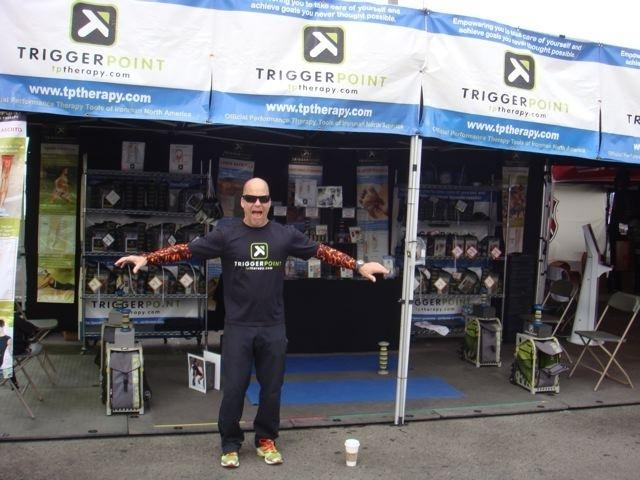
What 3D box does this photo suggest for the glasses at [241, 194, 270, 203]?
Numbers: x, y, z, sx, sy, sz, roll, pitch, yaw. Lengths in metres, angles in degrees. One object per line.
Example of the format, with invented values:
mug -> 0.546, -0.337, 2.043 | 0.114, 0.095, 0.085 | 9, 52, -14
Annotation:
glasses -> -0.617, -0.394, 5.701 | 0.247, 0.088, 0.104 | 1, 7, -8

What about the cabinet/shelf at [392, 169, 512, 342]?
cabinet/shelf -> 2.412, 0.401, 10.262 | 1.640, 2.705, 0.515 | 0, 8, -15

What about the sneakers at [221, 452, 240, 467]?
sneakers -> -0.881, 2.129, 5.785 | 0.188, 0.151, 0.208 | 0, 7, -12

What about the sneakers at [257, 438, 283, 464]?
sneakers -> -0.500, 2.099, 5.894 | 0.154, 0.138, 0.307 | 5, -3, -35

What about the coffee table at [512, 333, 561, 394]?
coffee table -> 2.861, 1.668, 8.092 | 0.597, 0.790, 0.778 | 2, -3, -19

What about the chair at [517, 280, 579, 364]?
chair -> 3.945, 1.287, 10.265 | 0.923, 1.118, 0.631 | -2, 7, -12
